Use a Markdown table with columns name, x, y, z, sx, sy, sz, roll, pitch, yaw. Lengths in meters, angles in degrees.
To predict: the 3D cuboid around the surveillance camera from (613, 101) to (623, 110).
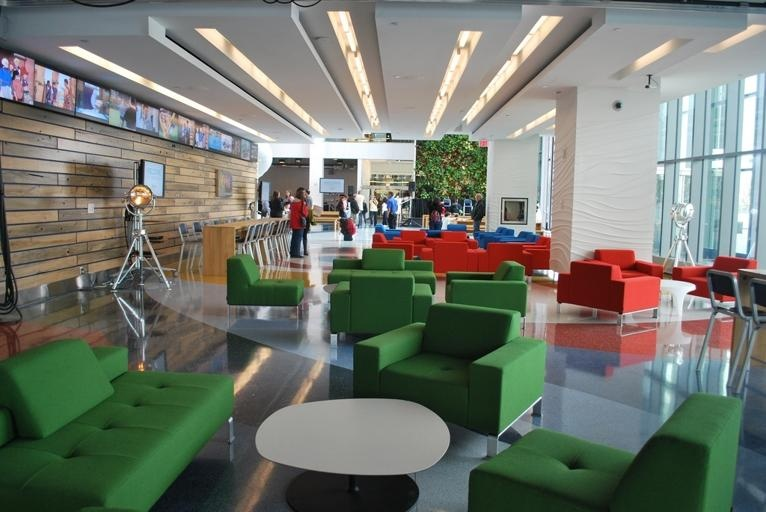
| name | x | y | z | sx | sy | sz | roll | pitch | yaw |
| --- | --- | --- | --- | --- | --- | --- | --- | --- | --- |
| surveillance camera | 4.564 | -2.921 | 9.625 | 0.175 | 0.184 | 0.045 | 0 | 7 | -4 |

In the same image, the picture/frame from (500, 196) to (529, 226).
| name | x | y | z | sx | sy | sz | roll | pitch | yaw |
| --- | --- | --- | --- | --- | --- | --- | --- | --- | --- |
| picture/frame | 4.772 | -1.705 | 18.005 | 1.133 | 1.065 | 0.047 | 1 | 4 | -1 |

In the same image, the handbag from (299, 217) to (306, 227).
| name | x | y | z | sx | sy | sz | roll | pitch | yaw |
| --- | --- | --- | --- | --- | --- | --- | --- | --- | --- |
| handbag | -2.178 | -0.929 | 13.540 | 0.201 | 0.302 | 0.361 | 2 | -23 | -13 |

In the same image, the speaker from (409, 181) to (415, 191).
| name | x | y | z | sx | sy | sz | roll | pitch | yaw |
| --- | --- | --- | --- | --- | --- | --- | --- | --- | --- |
| speaker | 1.741 | -4.163 | 29.479 | 0.339 | 0.545 | 0.870 | 0 | 7 | -2 |

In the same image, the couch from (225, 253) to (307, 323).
| name | x | y | z | sx | sy | sz | roll | pitch | yaw |
| --- | --- | --- | --- | --- | --- | --- | --- | --- | --- |
| couch | -1.790 | 0.359 | 7.460 | 1.083 | 0.730 | 0.379 | 2 | 7 | 11 |

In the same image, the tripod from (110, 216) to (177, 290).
| name | x | y | z | sx | sy | sz | roll | pitch | yaw |
| --- | --- | --- | --- | --- | --- | --- | --- | --- | --- |
| tripod | -5.173 | -0.065 | 10.566 | 1.264 | 1.620 | 1.158 | -2 | 34 | -24 |

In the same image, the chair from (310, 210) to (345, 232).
| name | x | y | z | sx | sy | sz | roll | pitch | yaw |
| --- | --- | --- | --- | --- | --- | --- | --- | --- | --- |
| chair | -2.779 | -1.752 | 24.487 | 1.773 | 1.085 | 1.193 | 0 | 0 | -3 |

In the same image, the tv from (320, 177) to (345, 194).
| name | x | y | z | sx | sy | sz | roll | pitch | yaw |
| --- | --- | --- | --- | --- | --- | --- | --- | --- | --- |
| tv | -2.696 | -3.680 | 25.944 | 1.221 | 0.664 | 0.116 | 1 | -5 | -11 |
